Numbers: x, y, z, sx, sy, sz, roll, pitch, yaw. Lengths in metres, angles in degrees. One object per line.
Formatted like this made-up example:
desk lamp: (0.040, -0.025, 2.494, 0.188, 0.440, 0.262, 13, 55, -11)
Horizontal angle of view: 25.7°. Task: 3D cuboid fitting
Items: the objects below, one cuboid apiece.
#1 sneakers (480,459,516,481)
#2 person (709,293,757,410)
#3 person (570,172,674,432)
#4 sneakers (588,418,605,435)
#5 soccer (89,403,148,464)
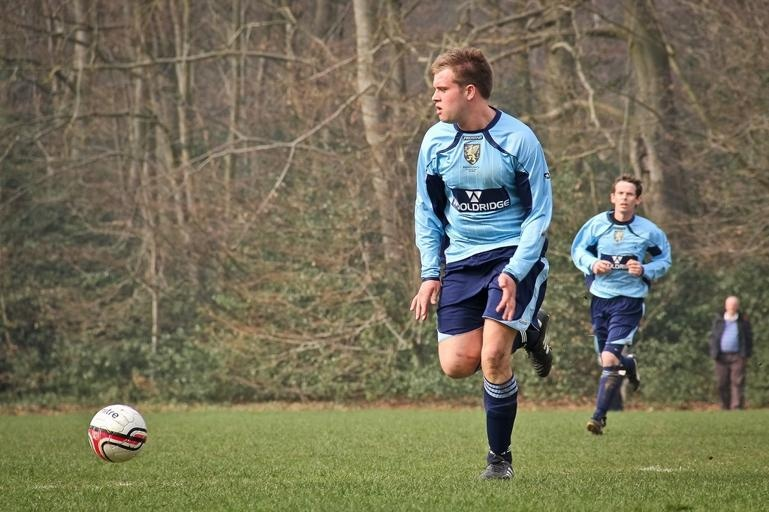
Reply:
sneakers: (1.241, 2.392, 18.826, 0.334, 0.156, 0.183, 10, -15, -36)
person: (4.643, 1.304, 22.774, 0.322, 1.492, 0.558, 11, -13, -42)
person: (2.967, 0.641, 21.462, 1.197, 3.296, 0.964, 0, -10, 14)
sneakers: (2.598, 2.112, 20.924, 0.210, 0.200, 0.238, 2, -10, 7)
soccer: (-3.013, 1.944, 19.269, 0.624, 0.648, 0.622, -8, 23, -40)
